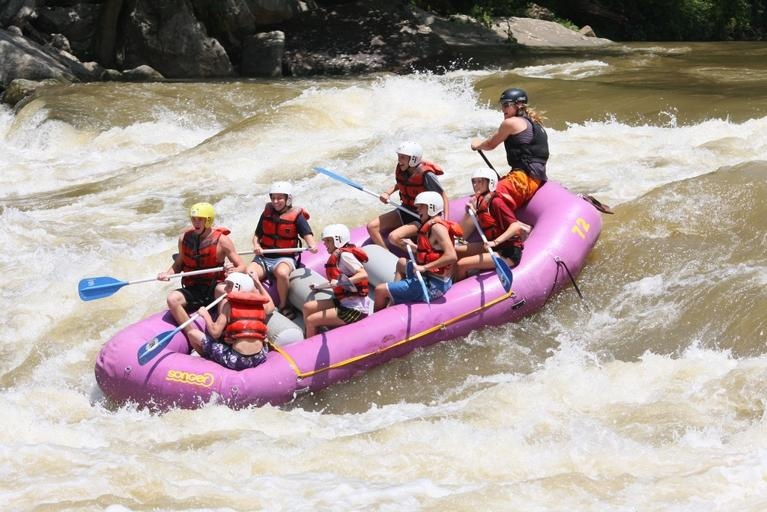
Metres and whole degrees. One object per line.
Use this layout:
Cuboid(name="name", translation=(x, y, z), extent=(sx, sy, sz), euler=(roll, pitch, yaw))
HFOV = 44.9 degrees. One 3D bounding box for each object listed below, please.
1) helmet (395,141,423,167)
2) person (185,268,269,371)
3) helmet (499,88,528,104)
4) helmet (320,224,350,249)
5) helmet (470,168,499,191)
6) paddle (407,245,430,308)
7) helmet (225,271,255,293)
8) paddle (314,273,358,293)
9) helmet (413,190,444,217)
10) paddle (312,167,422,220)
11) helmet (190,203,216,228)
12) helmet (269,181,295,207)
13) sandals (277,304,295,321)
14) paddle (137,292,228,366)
Cuboid(name="helmet", translation=(0.331, -1.368, 12.231), extent=(0.357, 0.262, 0.274), euler=(-1, 10, -25))
Cuboid(name="person", translation=(-1.838, 0.769, 11.101), extent=(0.958, 1.084, 0.558), euler=(-9, 18, -3))
Cuboid(name="helmet", translation=(1.750, -2.153, 12.547), extent=(0.287, 0.208, 0.216), euler=(-20, 30, 4))
Cuboid(name="helmet", translation=(-0.588, -0.253, 11.449), extent=(0.344, 0.247, 0.241), euler=(10, -2, -3))
Cuboid(name="helmet", translation=(1.346, -1.009, 12.104), extent=(0.338, 0.247, 0.252), euler=(-12, -1, -44))
Cuboid(name="paddle", translation=(0.441, 0.267, 11.391), extent=(0.140, 0.062, 1.224), euler=(-36, 29, 5))
Cuboid(name="helmet", translation=(-1.714, 0.305, 11.056), extent=(0.295, 0.200, 0.205), euler=(12, 24, -12))
Cuboid(name="paddle", translation=(-0.573, 0.331, 11.369), extent=(0.440, 0.241, 0.086), euler=(-6, 35, 20))
Cuboid(name="helmet", translation=(0.546, -0.641, 11.436), extent=(0.355, 0.262, 0.259), euler=(-3, 7, -6))
Cuboid(name="paddle", translation=(-0.234, -0.883, 13.471), extent=(1.812, 0.046, 0.202), euler=(25, -19, -1))
Cuboid(name="helmet", translation=(-2.256, -0.546, 11.439), extent=(0.295, 0.317, 0.280), euler=(11, 19, 20))
Cuboid(name="helmet", translation=(-1.360, -0.825, 11.928), extent=(0.343, 0.373, 0.414), euler=(-2, -4, 16))
Cuboid(name="sandals", translation=(-1.213, 0.696, 11.773), extent=(0.290, 0.084, 0.125), euler=(38, 35, 23))
Cuboid(name="paddle", translation=(-2.327, 0.739, 10.844), extent=(1.710, 0.076, 0.349), euler=(-35, -23, 20))
